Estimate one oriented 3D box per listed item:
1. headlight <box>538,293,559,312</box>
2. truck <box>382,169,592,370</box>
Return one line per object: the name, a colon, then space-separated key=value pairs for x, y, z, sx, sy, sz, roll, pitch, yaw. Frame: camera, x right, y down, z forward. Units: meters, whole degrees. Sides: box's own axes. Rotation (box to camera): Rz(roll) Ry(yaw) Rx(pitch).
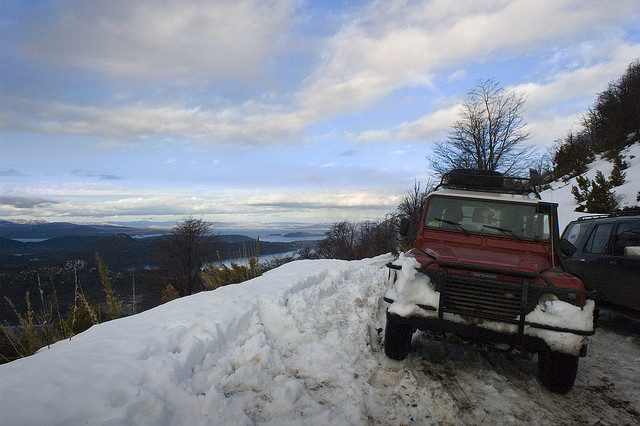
headlight: x=3.753 y=1.471 z=5.827 sx=0.294 sy=0.282 sz=0.086 roll=1 pitch=4 yaw=-6
truck: x=3.881 y=0.974 z=8.389 sx=3.221 sy=3.347 sz=6.142 roll=6 pitch=7 yaw=21
